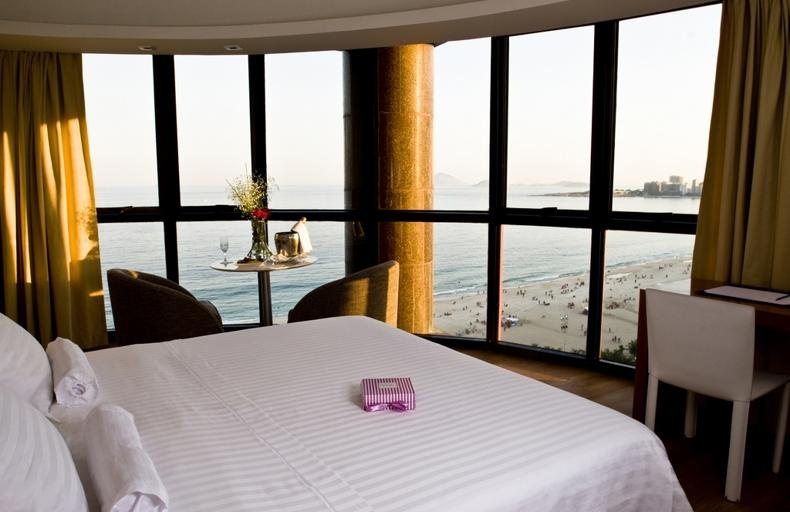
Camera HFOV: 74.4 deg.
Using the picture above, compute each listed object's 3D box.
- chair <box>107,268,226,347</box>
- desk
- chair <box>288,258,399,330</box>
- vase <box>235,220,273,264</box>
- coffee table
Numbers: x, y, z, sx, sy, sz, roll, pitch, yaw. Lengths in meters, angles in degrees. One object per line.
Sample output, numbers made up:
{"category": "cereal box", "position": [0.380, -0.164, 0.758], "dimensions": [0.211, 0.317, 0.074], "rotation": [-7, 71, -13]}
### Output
{"category": "chair", "position": [-1.943, 0.286, 4.389], "dimensions": [0.761, 0.761, 0.760], "rotation": [-5, 8, -31]}
{"category": "desk", "position": [2.182, 0.686, 3.700], "dimensions": [1.041, 1.016, 1.046], "rotation": [-4, 7, -43]}
{"category": "chair", "position": [-0.407, 0.342, 4.535], "dimensions": [0.729, 0.808, 0.655], "rotation": [2, 0, 10]}
{"category": "vase", "position": [-1.303, -0.140, 4.935], "dimensions": [0.411, 0.397, 0.388], "rotation": [2, 3, 39]}
{"category": "coffee table", "position": [-1.234, 0.378, 4.916], "dimensions": [0.702, 0.640, 0.677], "rotation": [1, -1, -29]}
